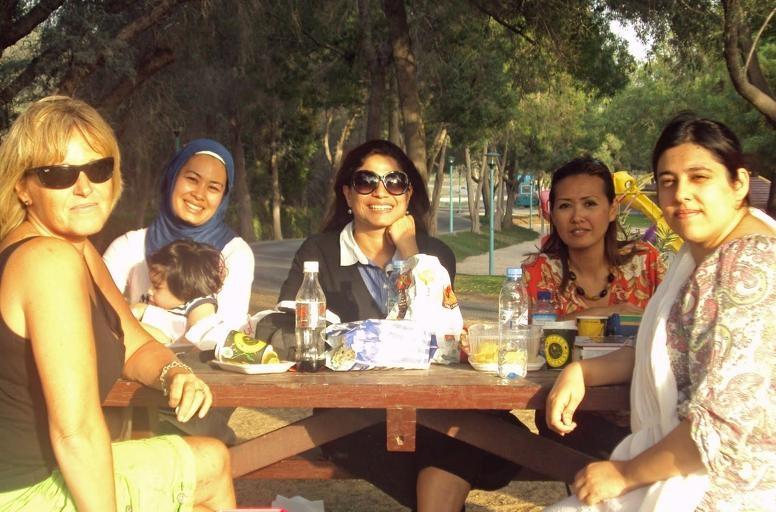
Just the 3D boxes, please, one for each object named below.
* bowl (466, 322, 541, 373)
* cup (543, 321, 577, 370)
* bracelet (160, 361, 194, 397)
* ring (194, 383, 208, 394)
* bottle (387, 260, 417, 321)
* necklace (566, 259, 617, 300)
[{"bbox_3d":[0.660,0.535,4.198,0.284,0.227,0.301,1,-4,0],"label":"bowl"},{"bbox_3d":[0.974,0.511,4.082,0.217,0.265,0.231,-1,1,0],"label":"cup"},{"bbox_3d":[-1.182,0.665,3.893,0.135,0.195,0.050,2,-16,-7],"label":"bracelet"},{"bbox_3d":[-0.982,0.695,3.753,0.058,0.025,0.044,38,32,8],"label":"ring"},{"bbox_3d":[0.064,0.197,4.510,0.140,0.366,0.518,0,0,-8],"label":"bottle"},{"bbox_3d":[1.440,0.203,5.122,0.299,0.255,0.095,23,-4,13],"label":"necklace"}]
